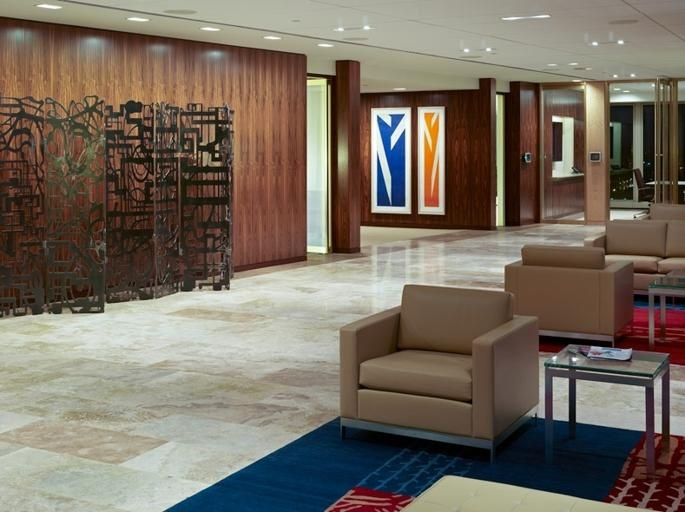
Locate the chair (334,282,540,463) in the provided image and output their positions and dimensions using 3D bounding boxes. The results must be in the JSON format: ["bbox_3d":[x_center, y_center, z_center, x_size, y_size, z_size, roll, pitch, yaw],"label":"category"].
[{"bbox_3d":[0.716,0.546,3.554,1.080,0.960,1.076,1,2,30],"label":"chair"}]

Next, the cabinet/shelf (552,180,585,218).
[{"bbox_3d":[7.427,-1.937,17.295,1.110,1.063,0.576,6,11,41],"label":"cabinet/shelf"}]

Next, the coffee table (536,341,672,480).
[{"bbox_3d":[1.561,0.777,3.152,0.683,0.641,0.686,1,4,28],"label":"coffee table"}]

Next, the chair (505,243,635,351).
[{"bbox_3d":[2.459,0.156,5.715,1.287,1.156,1.172,2,8,26],"label":"chair"}]
